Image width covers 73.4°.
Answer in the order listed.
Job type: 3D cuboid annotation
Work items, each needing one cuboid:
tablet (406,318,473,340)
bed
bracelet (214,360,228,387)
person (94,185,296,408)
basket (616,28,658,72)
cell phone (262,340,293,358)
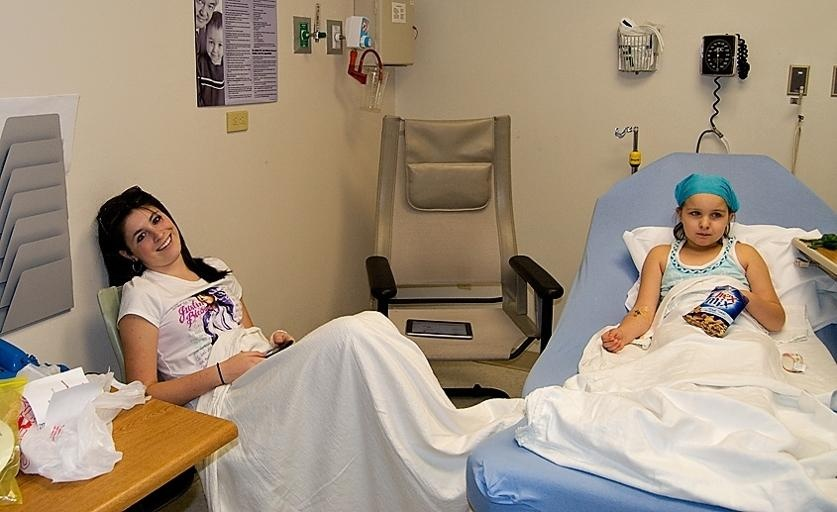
[{"bbox_3d":[0.098,0.362,2.799,0.229,0.032,0.133,3,9,1],"label":"tablet"},{"bbox_3d":[0.890,0.222,2.180,1.019,0.764,1.869,10,39,35],"label":"bed"},{"bbox_3d":[-0.757,0.451,2.144,0.037,0.083,0.030,7,14,31],"label":"bracelet"},{"bbox_3d":[-0.877,0.174,2.262,0.708,0.896,0.570,-4,16,29],"label":"person"},{"bbox_3d":[1.214,-1.154,3.120,0.201,0.271,0.233,-1,19,1],"label":"basket"},{"bbox_3d":[-0.566,0.362,2.256,0.086,0.019,0.088,-36,11,-23],"label":"cell phone"}]
